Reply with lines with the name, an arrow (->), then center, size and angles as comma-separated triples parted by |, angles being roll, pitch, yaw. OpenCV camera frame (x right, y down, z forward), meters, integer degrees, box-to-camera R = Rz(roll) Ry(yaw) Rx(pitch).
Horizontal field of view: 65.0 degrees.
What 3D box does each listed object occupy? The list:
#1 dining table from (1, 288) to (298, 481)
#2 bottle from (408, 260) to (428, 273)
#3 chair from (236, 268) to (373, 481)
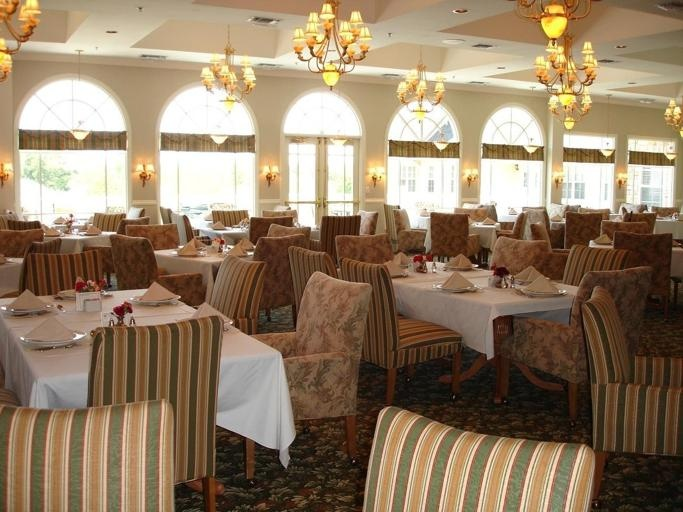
dining table -> -1.086, 0.415, 2.978 | 0.910, 0.383, 1.539 | -3, 9, -34
bottle -> 0.709, 0.112, 4.985 | 0.072, 0.092, 0.230 | -1, 0, -20
chair -> -0.096, 0.614, 3.604 | 1.011, 1.425, 0.987 | -2, 5, -24
